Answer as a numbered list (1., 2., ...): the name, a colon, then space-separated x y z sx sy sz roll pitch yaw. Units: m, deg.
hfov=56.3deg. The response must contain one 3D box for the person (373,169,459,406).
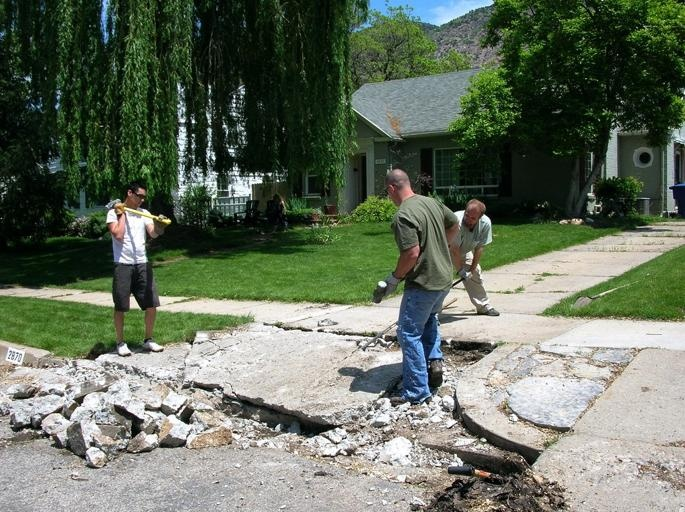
1. person: 0.800 0.307 6.581 0.819 2.371 0.514 -6 7 -39

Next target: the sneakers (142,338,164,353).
1. sneakers: -2.442 1.133 8.212 0.274 0.107 0.136 8 14 36

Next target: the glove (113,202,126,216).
1. glove: -2.853 -0.599 8.144 0.136 0.158 0.054 7 -17 -17

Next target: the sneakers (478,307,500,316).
1. sneakers: 2.020 0.766 8.871 0.265 0.107 0.122 -1 4 33

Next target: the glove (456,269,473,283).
1. glove: 1.510 0.236 7.955 0.174 0.076 0.209 -22 -9 1

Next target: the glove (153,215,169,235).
1. glove: -2.408 -0.375 8.346 0.168 0.174 0.615 12 -9 -11

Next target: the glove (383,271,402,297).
1. glove: 0.497 0.266 6.431 0.175 0.161 0.215 18 39 9

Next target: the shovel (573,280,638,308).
1. shovel: 3.734 0.540 9.359 1.860 0.187 0.423 -5 6 -41

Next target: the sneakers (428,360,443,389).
1. sneakers: 0.965 1.233 6.699 0.145 0.280 0.126 0 13 -4

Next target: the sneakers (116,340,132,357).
1. sneakers: -2.775 1.157 8.073 0.112 0.104 0.277 -12 11 -30

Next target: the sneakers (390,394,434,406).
1. sneakers: 0.720 1.463 6.611 0.427 0.161 0.149 -10 -4 12

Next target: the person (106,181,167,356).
1. person: -2.665 0.138 8.250 0.667 2.156 0.676 -3 6 -17

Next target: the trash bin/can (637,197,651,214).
1. trash bin/can: 12.789 -2.093 27.048 0.973 0.703 0.434 -5 6 -36
